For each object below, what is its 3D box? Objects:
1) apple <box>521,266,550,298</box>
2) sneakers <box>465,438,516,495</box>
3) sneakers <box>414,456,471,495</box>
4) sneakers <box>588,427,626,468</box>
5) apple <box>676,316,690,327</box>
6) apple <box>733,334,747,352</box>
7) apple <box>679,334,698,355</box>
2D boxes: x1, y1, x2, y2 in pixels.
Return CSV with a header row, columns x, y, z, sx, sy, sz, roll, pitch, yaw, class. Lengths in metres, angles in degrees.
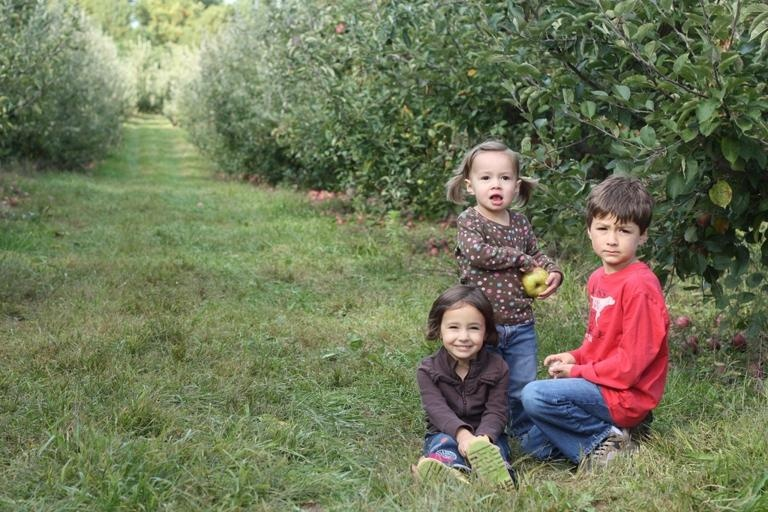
x,y,z,sx,sy,sz,roll,pitch,yaw,class
1.081,0.214,4.489,0.187,0.217,0.199,-24,-26,27,apple
0.643,1.263,3.827,0.183,0.354,0.083,-36,-8,0,sneakers
0.359,1.329,3.891,0.319,0.142,0.142,23,5,16,sneakers
1.461,1.248,4.098,0.260,0.115,0.087,-37,33,-10,sneakers
2.511,0.560,5.280,0.081,0.090,0.113,-28,-21,32,apple
2.821,0.692,4.991,0.079,0.107,0.079,11,-41,-16,apple
2.530,0.714,5.134,0.220,0.137,0.104,-1,13,-34,apple
